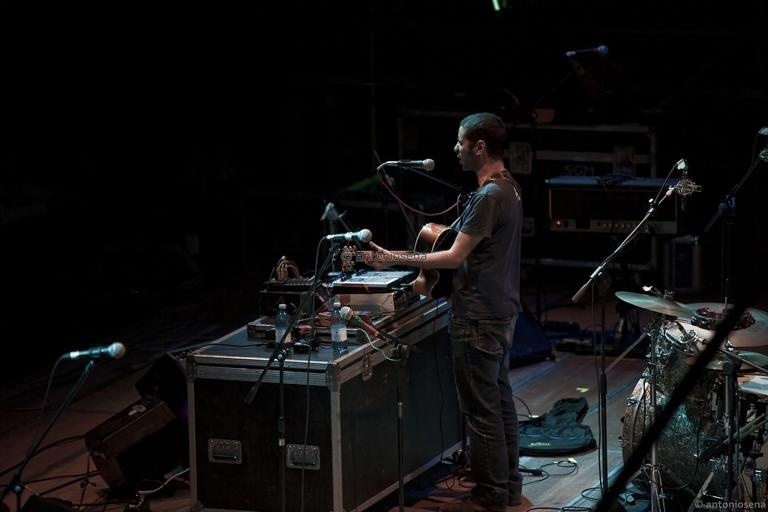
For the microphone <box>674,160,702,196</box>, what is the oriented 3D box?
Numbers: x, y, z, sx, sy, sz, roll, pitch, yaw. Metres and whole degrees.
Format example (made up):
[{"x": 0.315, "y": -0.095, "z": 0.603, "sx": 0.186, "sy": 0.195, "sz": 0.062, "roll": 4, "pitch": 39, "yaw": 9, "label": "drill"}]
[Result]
[{"x": 2.364, "y": -0.610, "z": 5.907, "sx": 0.208, "sy": 0.285, "sz": 0.181, "roll": -4, "pitch": -12, "yaw": 36, "label": "microphone"}]

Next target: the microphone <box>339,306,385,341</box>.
[{"x": -0.179, "y": 0.535, "z": 5.870, "sx": 0.088, "sy": 0.287, "sz": 0.086, "roll": -49, "pitch": 6, "yaw": 35, "label": "microphone"}]

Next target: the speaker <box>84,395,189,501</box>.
[{"x": -2.062, "y": 1.662, "z": 6.368, "sx": 0.675, "sy": 0.649, "sz": 0.480, "roll": -36, "pitch": 16, "yaw": -32, "label": "speaker"}]

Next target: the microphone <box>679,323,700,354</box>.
[{"x": 2.268, "y": 0.607, "z": 5.600, "sx": 0.050, "sy": 0.043, "sz": 0.252, "roll": -44, "pitch": 31, "yaw": 16, "label": "microphone"}]

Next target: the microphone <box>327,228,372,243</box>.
[{"x": -0.245, "y": -0.136, "z": 5.439, "sx": 0.352, "sy": 0.112, "sz": 0.120, "roll": -3, "pitch": 11, "yaw": 35, "label": "microphone"}]
